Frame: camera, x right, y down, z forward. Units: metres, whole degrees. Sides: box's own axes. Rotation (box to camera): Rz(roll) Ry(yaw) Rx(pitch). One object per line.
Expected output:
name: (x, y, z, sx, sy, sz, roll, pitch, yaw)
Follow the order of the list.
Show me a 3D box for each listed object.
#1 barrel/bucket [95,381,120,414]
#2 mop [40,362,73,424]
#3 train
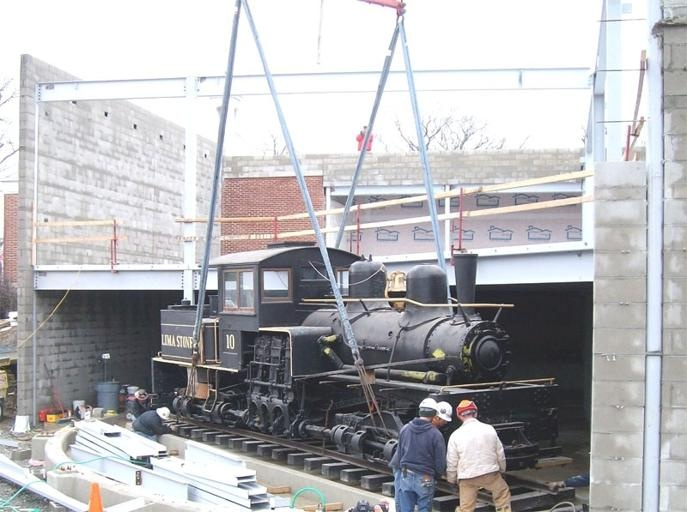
barrel/bucket: (-5.884, 3.460, 24.146, 0.711, 0.654, 0.692, 1, -2, 0)
mop: (-6.850, 3.303, 23.463, 0.600, 1.464, 0.497, -8, 20, -23)
train: (-0.379, 1.729, 18.863, 2.860, 3.512, 9.301, 0, -1, -37)
